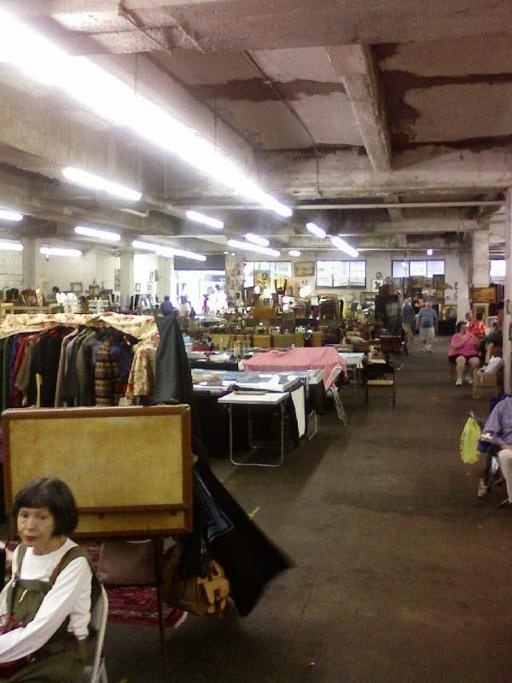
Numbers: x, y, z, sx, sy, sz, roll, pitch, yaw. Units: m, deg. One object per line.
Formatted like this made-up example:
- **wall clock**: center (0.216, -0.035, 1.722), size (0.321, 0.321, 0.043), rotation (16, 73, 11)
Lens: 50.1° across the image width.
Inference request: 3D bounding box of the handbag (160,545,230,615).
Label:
- **handbag**: center (-0.229, 1.171, 2.645), size (0.236, 0.242, 0.178), rotation (-8, -7, -34)

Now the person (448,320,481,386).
- **person**: center (4.280, 0.217, 11.217), size (0.664, 1.359, 0.644), rotation (-4, -7, 45)

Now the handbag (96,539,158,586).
- **handbag**: center (-0.650, 1.102, 2.738), size (0.320, 0.256, 0.120), rotation (0, 1, 9)

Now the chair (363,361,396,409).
- **chair**: center (2.225, 0.638, 9.725), size (0.413, 0.775, 0.423), rotation (1, 6, 17)
